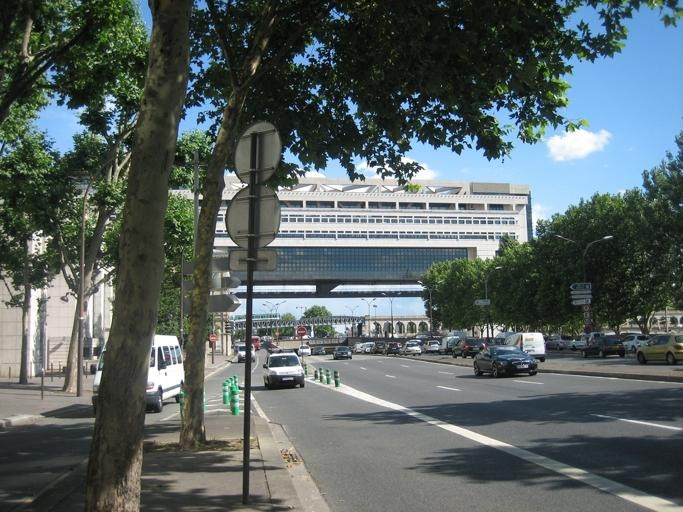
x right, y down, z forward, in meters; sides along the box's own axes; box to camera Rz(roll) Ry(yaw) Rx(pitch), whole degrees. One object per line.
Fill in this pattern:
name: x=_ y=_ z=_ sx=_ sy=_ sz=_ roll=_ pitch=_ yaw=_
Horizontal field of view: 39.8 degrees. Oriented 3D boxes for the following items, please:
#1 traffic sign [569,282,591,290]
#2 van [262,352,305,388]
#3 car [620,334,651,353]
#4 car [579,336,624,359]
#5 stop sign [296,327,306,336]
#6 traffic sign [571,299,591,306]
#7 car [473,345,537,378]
traffic sign: x=15.739 y=1.999 z=61.393 sx=0.962 sy=0.390 sz=0.774 roll=1 pitch=0 yaw=9
van: x=-2.418 y=4.878 z=40.373 sx=1.484 sy=1.570 sz=2.305 roll=1 pitch=-9 yaw=-12
car: x=18.418 y=5.495 z=58.955 sx=1.650 sy=1.489 sz=3.065 roll=-1 pitch=-2 yaw=-3
car: x=16.304 y=5.658 z=59.041 sx=1.272 sy=1.123 sz=2.279 roll=0 pitch=-3 yaw=-10
stop sign: x=-2.427 y=4.520 z=56.317 sx=0.488 sy=0.563 sz=0.112 roll=-2 pitch=4 yaw=-34
traffic sign: x=15.665 y=2.973 z=61.404 sx=0.678 sy=0.474 sz=1.406 roll=2 pitch=-10 yaw=-19
car: x=6.976 y=4.567 z=41.126 sx=1.172 sy=0.892 sz=2.833 roll=1 pitch=-16 yaw=-7
